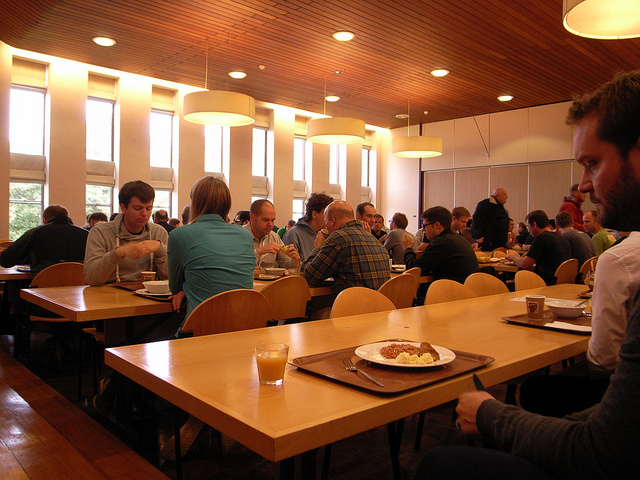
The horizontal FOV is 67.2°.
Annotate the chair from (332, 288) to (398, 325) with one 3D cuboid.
[{"bbox_3d":[0.234,0.335,2.366,0.186,0.240,0.166,2,-8,-27],"label":"chair"}]

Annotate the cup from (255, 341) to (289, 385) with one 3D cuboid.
[{"bbox_3d":[-0.139,0.357,1.409,0.103,0.116,0.103,2,4,0],"label":"cup"}]

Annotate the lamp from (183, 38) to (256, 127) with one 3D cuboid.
[{"bbox_3d":[-1.313,-2.198,6.370,1.012,1.076,1.017,-2,12,-9],"label":"lamp"}]

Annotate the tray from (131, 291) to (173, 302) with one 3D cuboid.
[{"bbox_3d":[-0.888,0.322,2.641,0.150,0.037,0.139,-3,2,-20],"label":"tray"}]

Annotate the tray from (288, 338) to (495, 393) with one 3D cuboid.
[{"bbox_3d":[0.229,0.385,1.547,0.574,0.035,0.411,-3,2,-32],"label":"tray"}]

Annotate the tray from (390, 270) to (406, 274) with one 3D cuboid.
[{"bbox_3d":[0.695,0.279,4.267,0.108,0.011,0.217,-2,2,9],"label":"tray"}]

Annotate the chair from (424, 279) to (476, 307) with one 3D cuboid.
[{"bbox_3d":[0.745,0.303,2.819,0.191,0.261,0.188,1,-2,-22],"label":"chair"}]

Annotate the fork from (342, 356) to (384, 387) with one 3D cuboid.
[{"bbox_3d":[0.116,0.387,1.433,0.032,0.032,0.221,8,11,-28],"label":"fork"}]

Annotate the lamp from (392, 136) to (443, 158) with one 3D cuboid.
[{"bbox_3d":[1.907,-1.879,9.509,0.899,0.383,0.891,-2,2,7],"label":"lamp"}]

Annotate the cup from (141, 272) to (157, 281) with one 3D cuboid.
[{"bbox_3d":[-1.064,0.228,3.003,0.059,0.042,0.059,0,-2,0],"label":"cup"}]

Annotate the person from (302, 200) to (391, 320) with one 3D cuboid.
[{"bbox_3d":[0.185,0.267,3.612,0.619,1.113,0.522,8,16,25],"label":"person"}]

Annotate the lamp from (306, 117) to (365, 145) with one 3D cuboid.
[{"bbox_3d":[0.268,-1.809,7.964,1.197,0.311,1.202,1,-3,-3],"label":"lamp"}]

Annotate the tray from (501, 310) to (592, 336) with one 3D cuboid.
[{"bbox_3d":[1.046,0.355,2.180,0.367,0.035,0.447,-1,2,37],"label":"tray"}]

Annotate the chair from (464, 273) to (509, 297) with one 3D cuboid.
[{"bbox_3d":[1.096,0.294,3.186,0.207,0.270,0.195,-1,-3,-25],"label":"chair"}]
